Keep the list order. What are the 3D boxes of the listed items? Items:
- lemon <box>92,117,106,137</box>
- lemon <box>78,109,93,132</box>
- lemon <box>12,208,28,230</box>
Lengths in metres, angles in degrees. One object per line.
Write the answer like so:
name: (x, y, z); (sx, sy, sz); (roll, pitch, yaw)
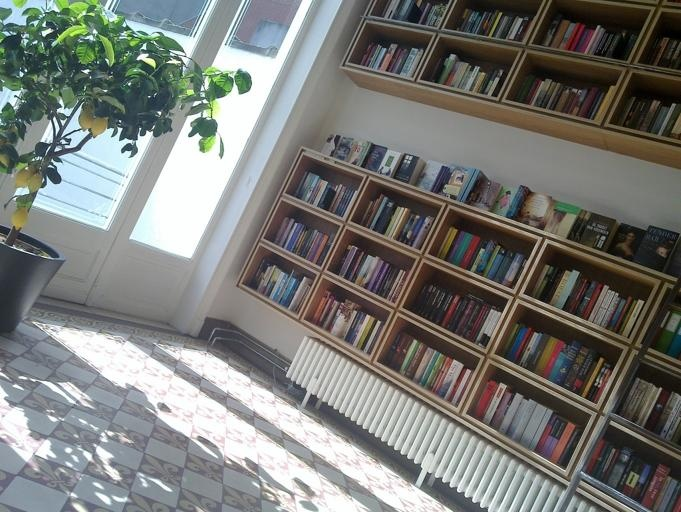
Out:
lemon: (-1.446, -0.771, 2.930); (0.079, 0.108, 0.145); (21, 4, -29)
lemon: (-1.486, -0.793, 2.905); (0.077, 0.126, 0.085); (7, -16, -6)
lemon: (-1.979, -0.229, 3.009); (0.073, 0.123, 0.189); (21, 5, -33)
